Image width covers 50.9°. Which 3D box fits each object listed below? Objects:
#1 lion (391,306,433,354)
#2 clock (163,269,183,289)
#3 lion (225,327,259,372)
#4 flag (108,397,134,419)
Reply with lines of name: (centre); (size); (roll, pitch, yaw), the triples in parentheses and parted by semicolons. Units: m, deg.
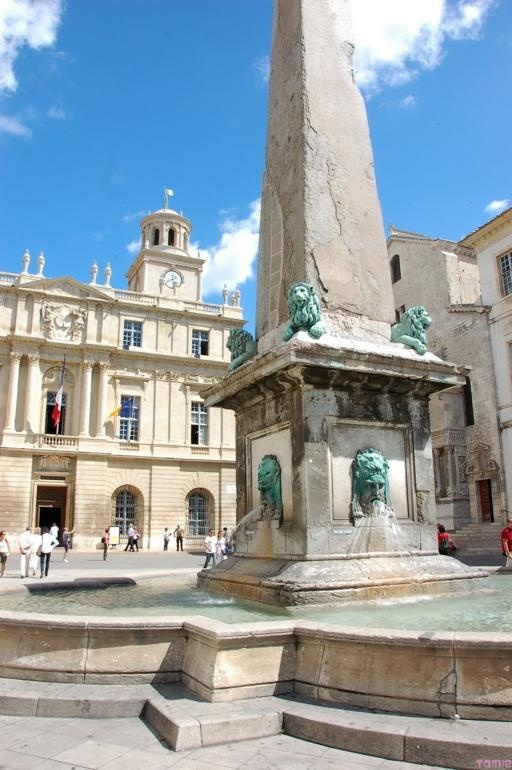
lion: (2.174, -0.754, 7.573); (0.541, 0.798, 0.495); (-11, -13, 17)
clock: (-6.845, -8.890, 44.943); (1.876, 1.764, 0.848); (3, -16, -39)
lion: (-0.208, -0.572, 8.160); (0.463, 0.832, 0.841); (-7, -12, -1)
flag: (-9.625, 1.671, 38.082); (0.110, 1.497, 1.494); (-1, -7, 42)
